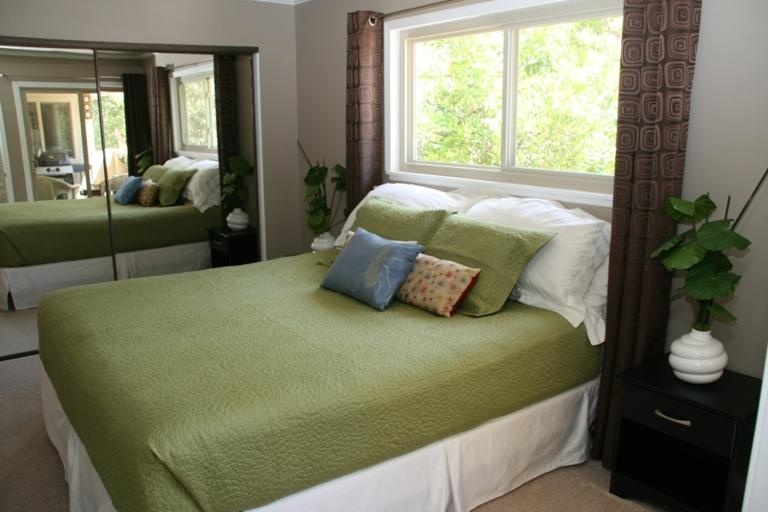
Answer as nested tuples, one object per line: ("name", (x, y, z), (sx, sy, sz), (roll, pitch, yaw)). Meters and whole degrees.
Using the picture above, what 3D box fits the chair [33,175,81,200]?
("chair", (-2.666, -0.569, 4.517), (0.191, 0.196, 0.196), (-10, 15, -39))

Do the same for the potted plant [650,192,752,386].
("potted plant", (1.632, 0.151, 2.965), (0.422, 0.965, 0.515), (8, 19, 30))

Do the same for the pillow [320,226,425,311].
("pillow", (-0.045, 0.063, 3.402), (0.165, 0.469, 0.548), (37, -11, -39))

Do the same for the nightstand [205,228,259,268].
("nightstand", (-1.444, -0.088, 5.421), (0.407, 0.542, 0.355), (-8, 15, -37))
